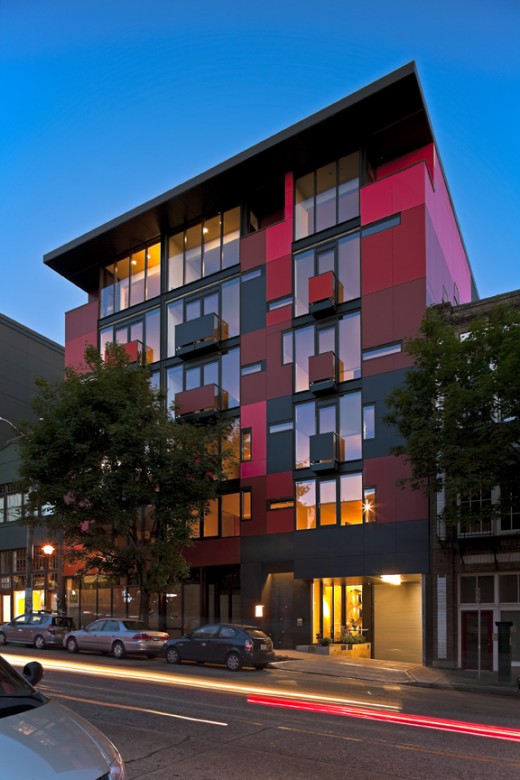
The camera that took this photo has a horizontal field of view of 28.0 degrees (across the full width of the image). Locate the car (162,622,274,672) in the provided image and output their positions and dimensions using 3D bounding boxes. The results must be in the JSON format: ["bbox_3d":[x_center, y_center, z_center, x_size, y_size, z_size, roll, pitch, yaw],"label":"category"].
[{"bbox_3d":[-0.999,6.530,26.629,2.255,0.925,1.329,-4,-17,31],"label":"car"}]

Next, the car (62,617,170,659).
[{"bbox_3d":[-4.114,6.945,29.834,3.062,1.017,1.313,-9,-19,40],"label":"car"}]
